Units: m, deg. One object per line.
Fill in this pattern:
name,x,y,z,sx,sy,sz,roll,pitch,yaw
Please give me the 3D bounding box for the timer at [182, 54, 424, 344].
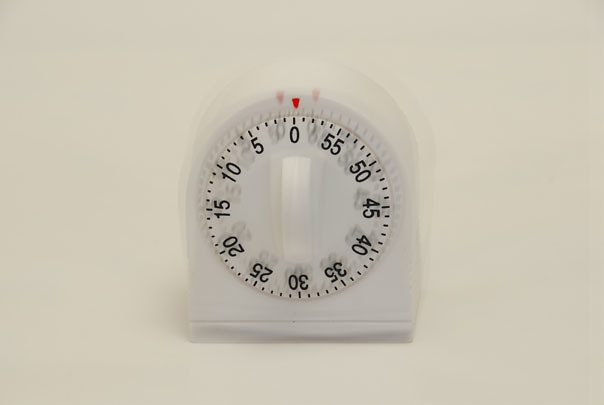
timer,0.005,-0.028,2.094,0.671,0.243,0.826,1,75,-4
